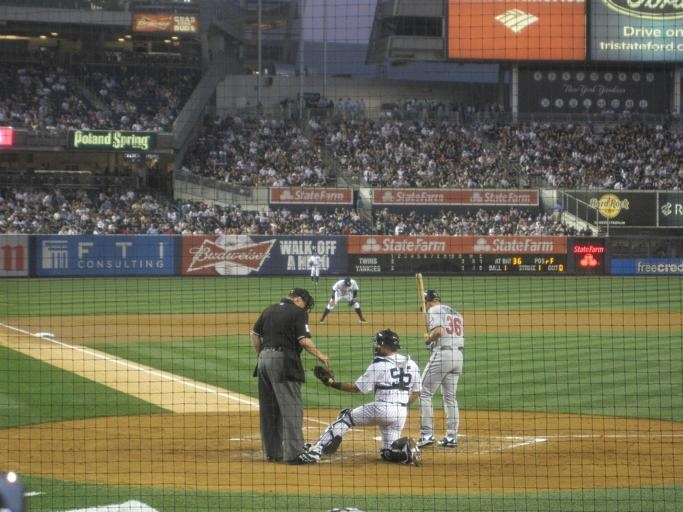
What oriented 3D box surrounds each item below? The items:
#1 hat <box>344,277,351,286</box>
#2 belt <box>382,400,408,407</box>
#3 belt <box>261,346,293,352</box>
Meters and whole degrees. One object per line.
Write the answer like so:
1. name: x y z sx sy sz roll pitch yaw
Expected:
1. hat: 0.339 1.172 92.085 0.342 0.390 0.893 2 -1 0
2. belt: 2.368 6.287 79.536 0.975 0.201 0.196 2 -1 -20
3. belt: -2.710 3.849 79.472 1.298 0.291 0.288 2 -1 -8
